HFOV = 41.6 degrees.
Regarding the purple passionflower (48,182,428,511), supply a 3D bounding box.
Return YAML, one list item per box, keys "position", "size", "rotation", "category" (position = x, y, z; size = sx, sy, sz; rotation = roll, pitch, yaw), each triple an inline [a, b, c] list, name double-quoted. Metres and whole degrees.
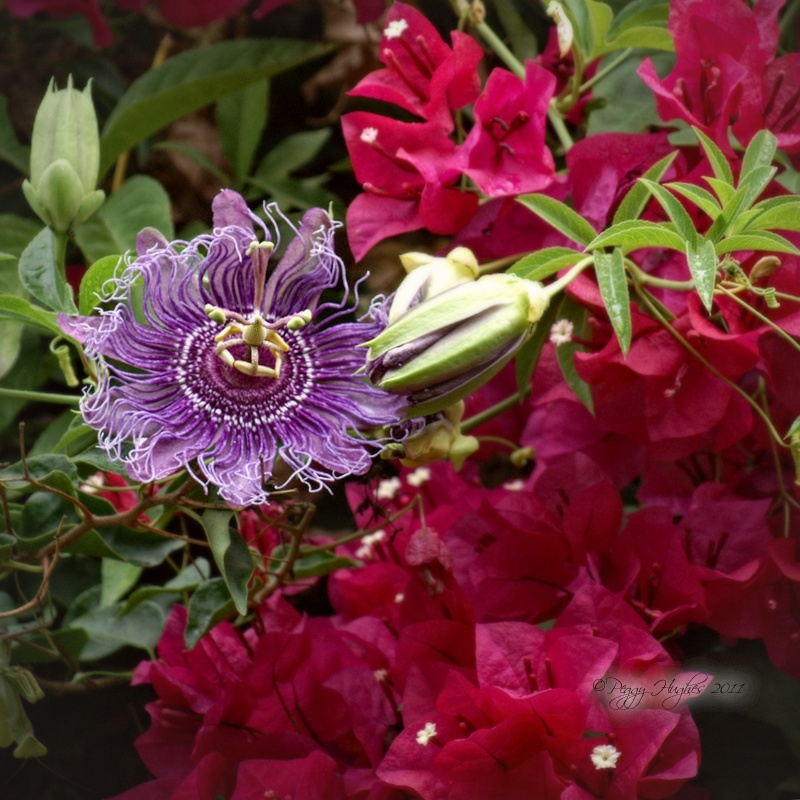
- position: [-0.108, -0.029, 0.717]
  size: [0.259, 0.080, 0.175]
  rotation: [13, 71, 18]
  category: "purple passionflower"
